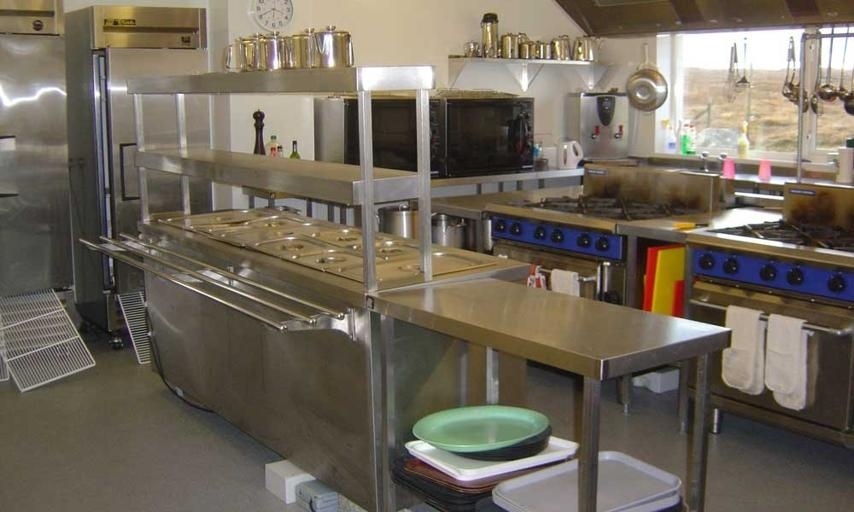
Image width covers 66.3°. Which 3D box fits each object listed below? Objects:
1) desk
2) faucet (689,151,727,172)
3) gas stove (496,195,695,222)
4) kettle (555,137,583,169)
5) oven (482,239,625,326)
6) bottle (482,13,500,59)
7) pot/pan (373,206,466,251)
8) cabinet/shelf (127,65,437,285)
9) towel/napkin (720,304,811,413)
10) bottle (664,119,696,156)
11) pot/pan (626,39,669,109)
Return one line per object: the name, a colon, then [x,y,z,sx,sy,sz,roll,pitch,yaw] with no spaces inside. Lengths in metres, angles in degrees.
desk: [0.588,0.672,3.136,0.646,0.700,1.229,-12,16,-39]
faucet: [2.780,-0.939,6.473,0.280,0.188,0.421,-10,18,-31]
gas stove: [1.340,-0.389,4.993,1.197,0.072,0.692,10,17,38]
kettle: [1.506,-1.070,6.908,0.251,0.313,0.315,-13,18,-43]
oven: [0.919,0.135,4.991,0.929,0.542,0.607,2,14,-4]
bottle: [0.667,-2.343,6.922,0.189,0.456,0.310,0,15,5]
pot/pan: [-0.041,-0.267,5.579,0.480,0.465,0.522,5,10,23]
cabinet/shelf: [-0.981,-0.560,3.941,2.534,1.083,0.517,12,19,41]
towel/napkin: [2.039,0.593,3.894,0.131,0.620,0.634,-11,16,-37]
bottle: [2.735,-1.294,7.076,0.296,0.353,0.325,3,15,15]
pot/pan: [2.014,-1.588,5.819,0.375,0.544,0.100,9,16,38]
